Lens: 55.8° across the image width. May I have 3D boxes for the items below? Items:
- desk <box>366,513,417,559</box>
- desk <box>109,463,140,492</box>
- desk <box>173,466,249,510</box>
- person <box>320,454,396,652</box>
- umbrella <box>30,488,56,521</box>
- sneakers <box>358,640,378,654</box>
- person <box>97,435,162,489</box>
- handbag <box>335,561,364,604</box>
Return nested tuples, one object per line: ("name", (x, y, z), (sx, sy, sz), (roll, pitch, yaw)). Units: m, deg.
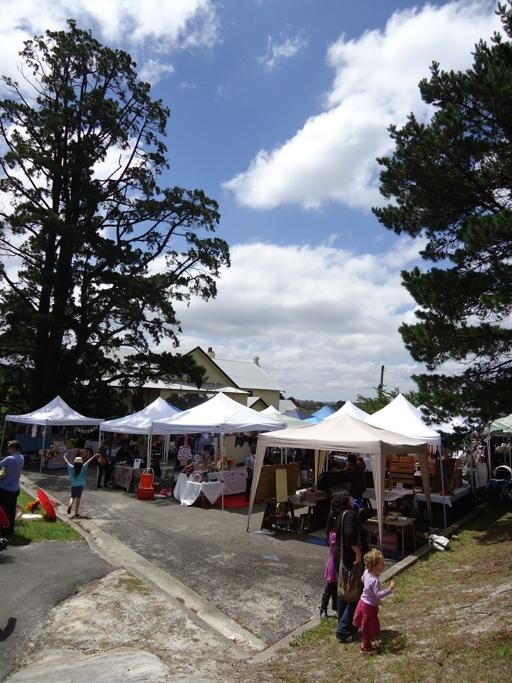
("desk", (2.732, 3.830, 9.587), (0.821, 0.800, 0.881), (-8, -12, 44))
("desk", (-4.223, 4.464, 15.687), (0.986, 0.478, 0.994), (0, -6, 29))
("desk", (-1.091, 4.117, 13.721), (1.078, 0.480, 1.821), (-1, -2, 35))
("person", (1.150, 2.521, 5.324), (0.498, 1.477, 1.022), (2, -9, 0))
("umbrella", (-4.835, 3.730, 10.935), (0.337, 1.091, 0.913), (-8, -14, -32))
("sneakers", (1.138, 3.069, 4.846), (0.077, 0.093, 0.221), (-5, -10, 42))
("person", (-4.486, 4.313, 17.040), (0.890, 1.260, 2.193), (12, -19, -35))
("handbag", (1.019, 2.641, 5.235), (0.256, 0.382, 0.191), (0, -10, 17))
